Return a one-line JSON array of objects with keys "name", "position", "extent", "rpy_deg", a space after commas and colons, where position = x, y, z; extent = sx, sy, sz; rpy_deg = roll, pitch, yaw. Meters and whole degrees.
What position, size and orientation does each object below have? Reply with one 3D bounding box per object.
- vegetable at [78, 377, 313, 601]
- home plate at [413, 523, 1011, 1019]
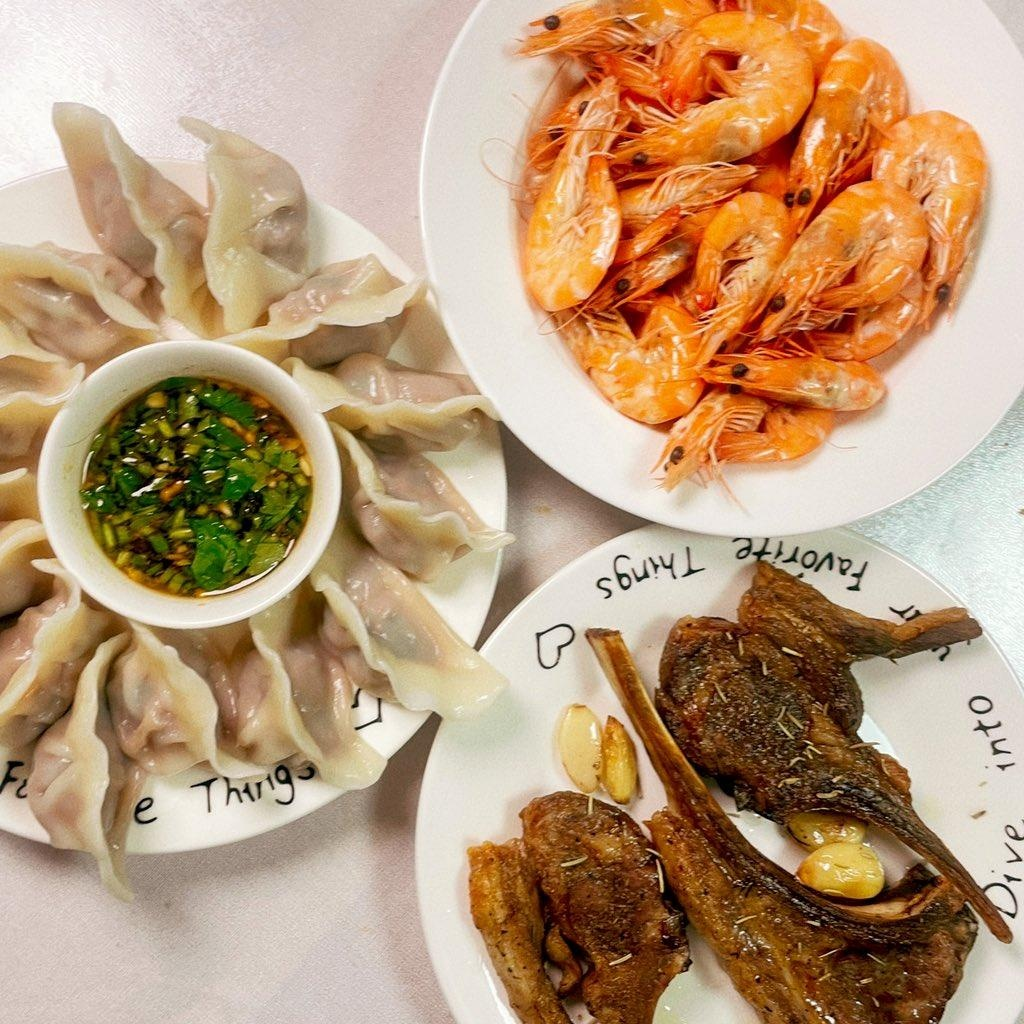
[{"name": "vegetable", "position": [-0.413, -0.032, 1.332], "extent": [0.263, 0.124, 0.285], "rpy_deg": [21, 76, 7]}, {"name": "home plate", "position": [0.180, 0.389, 1.375], "extent": [0.967, 0.144, 0.725], "rpy_deg": [9, 93, -1]}]
